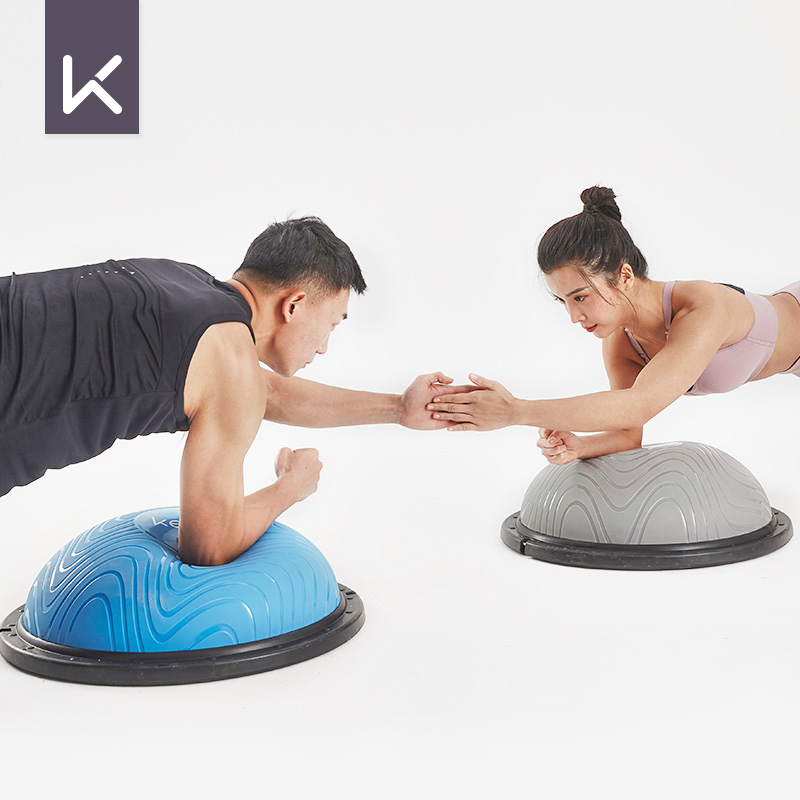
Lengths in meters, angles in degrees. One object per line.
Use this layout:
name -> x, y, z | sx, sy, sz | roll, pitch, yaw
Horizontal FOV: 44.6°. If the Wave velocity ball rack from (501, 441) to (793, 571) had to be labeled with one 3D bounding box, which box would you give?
Wave velocity ball rack -> 0.915, 0.377, 3.493 | 1.014, 0.389, 0.512 | 1, 7, -1
